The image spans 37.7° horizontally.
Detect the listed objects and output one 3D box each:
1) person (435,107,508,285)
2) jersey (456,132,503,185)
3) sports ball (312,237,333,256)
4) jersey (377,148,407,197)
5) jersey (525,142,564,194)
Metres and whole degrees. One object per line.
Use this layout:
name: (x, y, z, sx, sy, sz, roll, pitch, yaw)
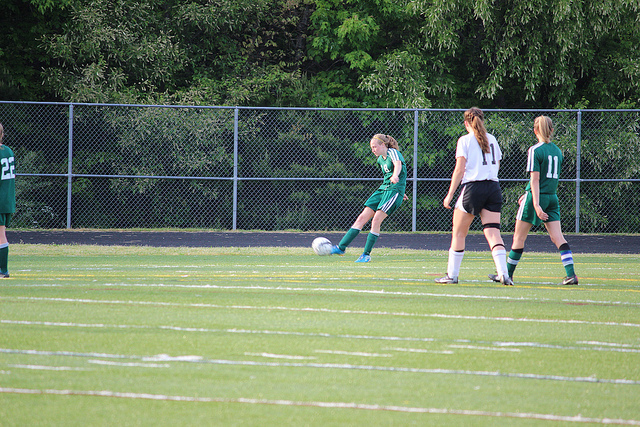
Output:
person: (2.615, -0.239, 15.700, 1.119, 2.964, 0.593, 1, 15, 7)
jersey: (2.666, -0.916, 15.743, 1.010, 0.850, 0.478, -3, 6, -28)
sports ball: (0.025, 0.679, 19.060, 0.391, 0.292, 0.295, 22, -14, 13)
jersey: (1.378, -0.782, 18.074, 0.481, 0.923, 0.518, 1, 15, 6)
jersey: (3.782, -0.757, 15.764, 0.586, 0.858, 0.295, -1, 15, 0)
